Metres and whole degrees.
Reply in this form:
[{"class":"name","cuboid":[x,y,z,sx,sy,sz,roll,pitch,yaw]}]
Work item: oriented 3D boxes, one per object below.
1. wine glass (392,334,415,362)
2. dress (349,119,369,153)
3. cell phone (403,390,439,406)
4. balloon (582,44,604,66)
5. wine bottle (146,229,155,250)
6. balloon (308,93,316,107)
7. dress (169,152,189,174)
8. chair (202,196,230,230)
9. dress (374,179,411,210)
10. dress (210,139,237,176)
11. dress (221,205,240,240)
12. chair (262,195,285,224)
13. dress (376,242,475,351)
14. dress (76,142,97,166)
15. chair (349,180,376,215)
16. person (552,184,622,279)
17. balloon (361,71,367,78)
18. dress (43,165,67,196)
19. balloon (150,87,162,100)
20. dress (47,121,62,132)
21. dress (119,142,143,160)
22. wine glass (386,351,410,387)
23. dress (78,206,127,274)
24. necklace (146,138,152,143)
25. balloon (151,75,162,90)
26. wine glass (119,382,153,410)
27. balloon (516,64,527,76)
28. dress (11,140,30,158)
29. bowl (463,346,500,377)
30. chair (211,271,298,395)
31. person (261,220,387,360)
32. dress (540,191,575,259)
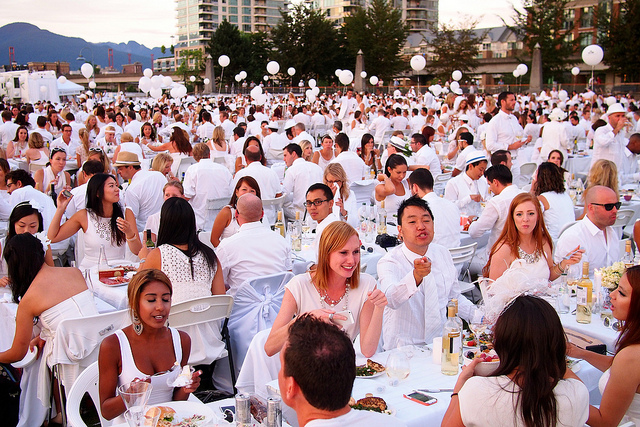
[{"class":"wine glass","cuboid":[0.627,0.987,3.933,0.146,0.214,0.176,-1,10,-6]},{"class":"dress","cuboid":[1.136,-2.574,16.398,0.231,0.519,0.690,-11,-28,-13]},{"class":"cell phone","cuboid":[0.676,1.238,3.583,0.137,0.026,0.234,-7,9,-43]},{"class":"balloon","cuboid":[9.329,-5.495,18.489,0.568,0.847,1.854,4,8,25]},{"class":"wine bottle","cuboid":[-1.837,0.272,5.830,0.084,0.175,0.396,-2,7,-18]},{"class":"balloon","cuboid":[-0.362,-5.529,25.592,0.287,0.688,0.301,-15,35,-17]},{"class":"dress","cuboid":[-2.855,-1.035,10.983,0.354,0.431,0.467,-2,7,-16]},{"class":"chair","cuboid":[-1.468,-0.027,7.582,0.293,0.536,0.317,-7,35,-28]},{"class":"dress","cuboid":[0.956,-0.244,7.155,0.398,0.572,0.280,-11,16,-37]},{"class":"dress","cuboid":[-2.087,-1.226,11.552,0.521,0.727,0.819,-1,7,-12]},{"class":"dress","cuboid":[-1.066,0.118,6.349,0.193,0.417,0.393,-1,7,-11]},{"class":"chair","cuboid":[-0.707,-0.088,8.118,0.347,0.486,0.349,-3,47,-6]},{"class":"dress","cuboid":[0.920,0.787,4.532,0.696,1.134,0.717,-9,18,-11]},{"class":"dress","cuboid":[-4.740,-1.203,10.794,0.198,0.371,0.760,-4,8,-31]},{"class":"chair","cuboid":[0.653,-0.253,8.386,0.346,0.615,0.439,-4,43,-7]},{"class":"person","cuboid":[2.811,0.205,5.686,0.561,1.359,0.433,-20,25,-32]},{"class":"balloon","cuboid":[3.022,-9.517,36.785,0.210,0.455,0.870,3,7,22]},{"class":"dress","cuboid":[-4.404,-0.552,8.938,0.341,0.476,0.303,-4,8,-31]},{"class":"balloon","cuboid":[-6.889,-5.091,22.712,0.463,0.503,0.429,-18,25,-42]},{"class":"dress","cuboid":[-7.183,-2.348,14.516,0.289,0.286,0.364,-6,10,-43]},{"class":"dress","cuboid":[-3.337,-1.109,9.484,0.546,0.335,0.799,0,11,-18]},{"class":"wine glass","cuboid":[0.534,1.106,3.774,0.156,0.231,0.180,4,-1,16]},{"class":"dress","cuboid":[-2.401,0.291,5.970,0.542,0.780,0.376,-7,14,-42]},{"class":"necklace","cuboid":[-3.957,-1.693,12.499,0.064,0.071,0.067,1,-1,-2]},{"class":"balloon","cuboid":[-6.730,-5.459,22.345,0.454,0.623,0.524,5,44,0]},{"class":"wine glass","cuboid":[-1.114,1.092,3.257,0.154,0.151,0.153,4,8,42]},{"class":"balloon","cuboid":[10.157,-7.328,27.056,0.376,0.589,1.455,4,8,24]},{"class":"dress","cuboid":[-6.556,-1.407,11.778,0.313,0.480,0.161,1,-14,-12]},{"class":"bowl","cuboid":[1.110,0.967,3.655,0.239,0.148,0.253,-5,15,1]},{"class":"chair","cuboid":[-0.558,1.279,5.169,0.625,0.997,0.788,10,45,-20]},{"class":"person","cuboid":[0.014,0.609,4.210,0.760,1.651,0.738,-4,16,-23]},{"class":"dress","cuboid":[3.046,0.034,6.840,0.468,0.633,0.263,-3,8,-26]}]
